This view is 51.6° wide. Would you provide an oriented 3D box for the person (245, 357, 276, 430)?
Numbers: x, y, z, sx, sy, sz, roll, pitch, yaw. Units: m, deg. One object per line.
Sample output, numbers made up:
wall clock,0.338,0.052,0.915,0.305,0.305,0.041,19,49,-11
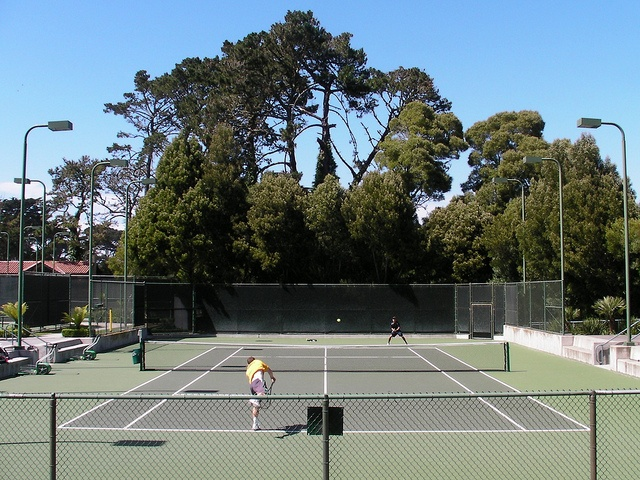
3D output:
person,-1.823,4.609,19.702,0.779,2.078,0.886,4,2,-28
